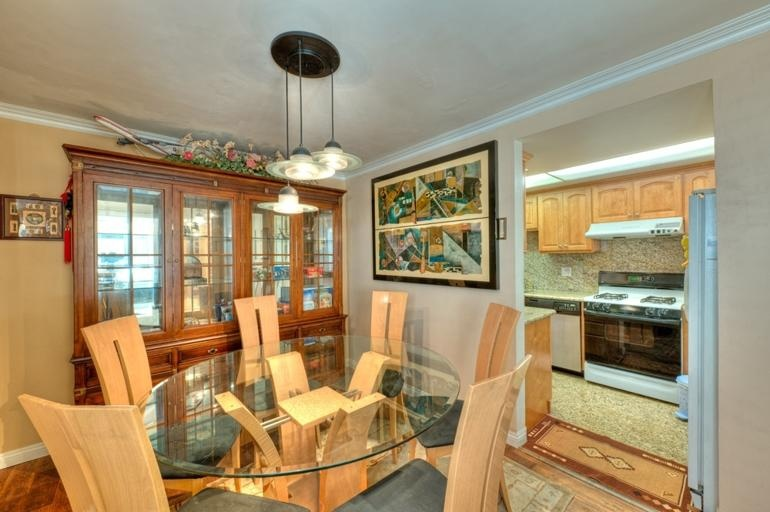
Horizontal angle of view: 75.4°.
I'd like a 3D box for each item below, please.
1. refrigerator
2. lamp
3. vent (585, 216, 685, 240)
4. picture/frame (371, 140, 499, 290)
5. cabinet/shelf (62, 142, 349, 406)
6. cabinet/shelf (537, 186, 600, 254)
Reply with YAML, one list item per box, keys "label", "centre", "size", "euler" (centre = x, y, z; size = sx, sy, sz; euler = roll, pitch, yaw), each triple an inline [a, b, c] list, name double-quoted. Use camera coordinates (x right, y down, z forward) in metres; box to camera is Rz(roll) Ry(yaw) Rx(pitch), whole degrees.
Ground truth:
- label: "refrigerator"
  centre: [2.451, 0.727, 3.840]
  size: [0.195, 2.450, 0.152]
  euler: [-1, 2, 35]
- label: "lamp"
  centre: [-0.660, -1.018, 3.935]
  size: [0.819, 1.084, 0.711]
  euler: [-1, 3, 13]
- label: "vent"
  centre: [2.761, -0.310, 5.553]
  size: [0.983, 0.192, 0.142]
  euler: [-2, 1, 39]
- label: "picture/frame"
  centre: [0.442, -0.332, 5.110]
  size: [1.597, 1.178, 0.047]
  euler: [-7, 9, -32]
- label: "cabinet/shelf"
  centre: [-1.764, 0.153, 4.559]
  size: [2.546, 2.334, 0.675]
  euler: [-1, 3, -32]
- label: "cabinet/shelf"
  centre: [2.267, -0.440, 6.062]
  size: [0.495, 1.009, 0.844]
  euler: [2, -2, -37]
